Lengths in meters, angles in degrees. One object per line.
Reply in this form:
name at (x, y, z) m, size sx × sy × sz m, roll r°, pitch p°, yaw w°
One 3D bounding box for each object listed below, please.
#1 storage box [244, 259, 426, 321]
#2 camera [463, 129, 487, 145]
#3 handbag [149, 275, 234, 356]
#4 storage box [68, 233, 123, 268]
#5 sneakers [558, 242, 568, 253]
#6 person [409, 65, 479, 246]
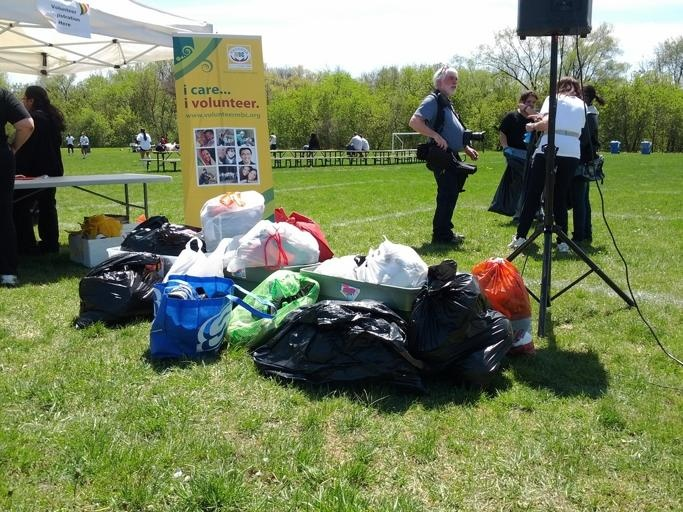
storage box at (-0.158, 0.293, 6.615) m, size 2.138 × 0.354 × 0.376 m, roll 11°, pitch 17°, yaw 35°
camera at (1.871, -1.676, 9.313) m, size 0.308 × 0.134 × 0.244 m, roll 4°, pitch 13°, yaw 20°
handbag at (-1.409, 0.490, 6.245) m, size 0.749 × 0.783 × 0.621 m, roll -2°, pitch 13°, yaw -25°
storage box at (-3.386, -0.075, 8.959) m, size 0.893 × 0.429 × 0.334 m, roll 9°, pitch 15°, yaw 30°
sneakers at (3.006, -0.106, 8.991) m, size 0.110 × 0.148 × 0.336 m, roll -4°, pitch -1°, yaw 11°
person at (1.470, -1.430, 9.639) m, size 0.933 × 2.567 × 0.509 m, roll -1°, pitch 12°, yaw -10°
